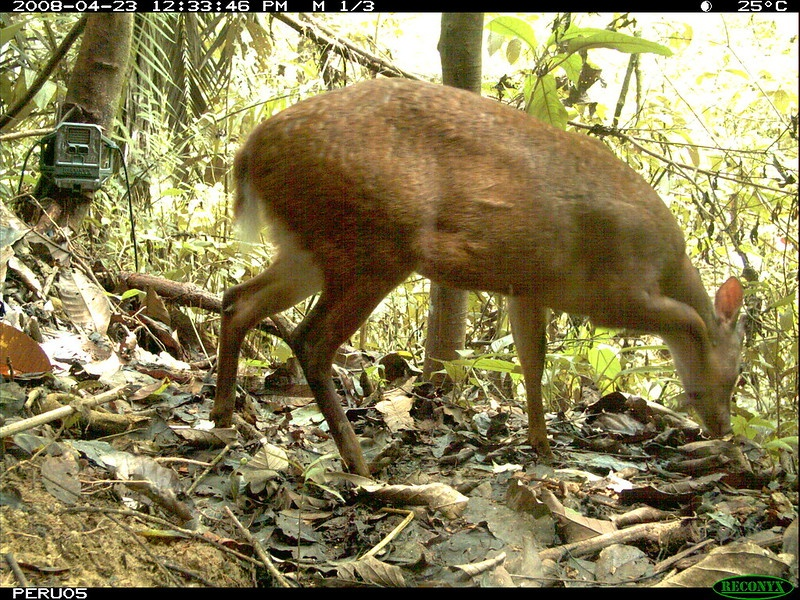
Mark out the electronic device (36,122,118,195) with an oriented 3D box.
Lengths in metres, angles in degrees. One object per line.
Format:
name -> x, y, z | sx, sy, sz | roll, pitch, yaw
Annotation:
electronic device -> -2.082, -0.901, 4.201 | 0.492, 0.425, 0.360 | -5, 15, -28

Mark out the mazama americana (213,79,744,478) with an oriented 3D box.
mazama americana -> 0.383, -0.090, 3.234 | 2.473, 1.596, 0.633 | 5, -2, -12
